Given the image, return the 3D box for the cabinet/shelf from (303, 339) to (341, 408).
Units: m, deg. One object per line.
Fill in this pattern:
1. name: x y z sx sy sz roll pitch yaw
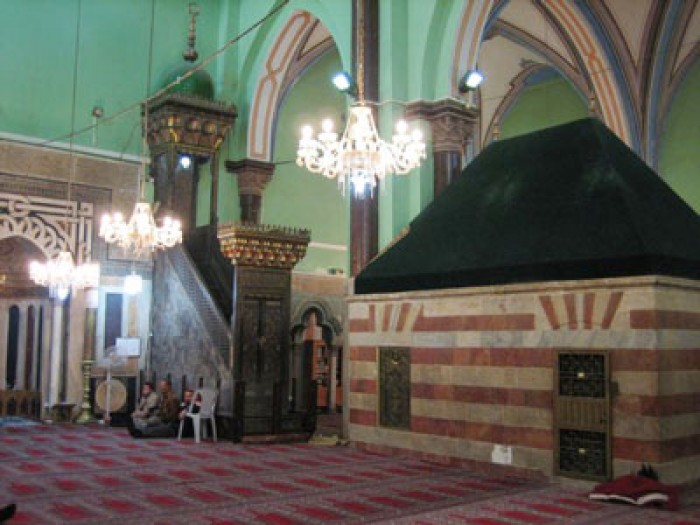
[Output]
1. cabinet/shelf: -0.431 2.016 12.874 0.547 1.289 0.376 2 -7 -8

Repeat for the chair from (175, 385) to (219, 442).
1. chair: -2.108 2.100 9.797 0.538 0.729 0.711 3 -7 -14

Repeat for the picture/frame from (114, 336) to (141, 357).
1. picture/frame: -3.714 1.420 11.838 0.503 0.454 0.280 5 -21 -22

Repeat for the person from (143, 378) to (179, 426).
1. person: -2.683 2.017 10.237 0.553 0.815 0.599 9 -22 -25

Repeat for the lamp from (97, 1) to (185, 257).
1. lamp: -3.409 -1.234 11.766 1.416 2.530 2.658 4 -8 -20

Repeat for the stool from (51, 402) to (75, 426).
1. stool: -4.687 2.459 11.483 0.365 0.358 0.355 5 -8 -34

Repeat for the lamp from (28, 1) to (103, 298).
1. lamp: -4.676 -2.081 11.943 1.008 5.417 1.203 3 -7 -19

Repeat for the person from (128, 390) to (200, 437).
1. person: -2.607 2.165 10.037 1.122 0.811 0.564 1 -13 -14

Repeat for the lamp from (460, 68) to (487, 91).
1. lamp: 1.812 -2.703 10.378 0.377 0.354 0.209 6 -9 -35
